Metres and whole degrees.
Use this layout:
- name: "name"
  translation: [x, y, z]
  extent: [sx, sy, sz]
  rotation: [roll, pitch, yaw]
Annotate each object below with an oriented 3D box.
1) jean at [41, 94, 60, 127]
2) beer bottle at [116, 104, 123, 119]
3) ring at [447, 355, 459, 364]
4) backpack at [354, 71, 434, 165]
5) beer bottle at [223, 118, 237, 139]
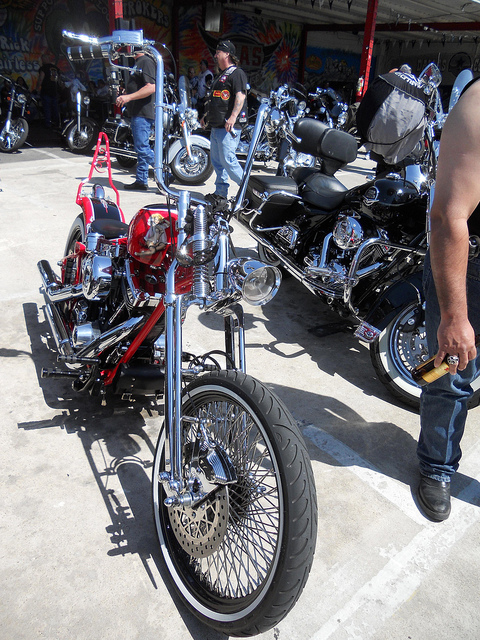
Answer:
- name: "jean"
  translation: [-5.257, -5.867, 13.147]
  extent: [0.431, 0.825, 0.419]
  rotation: [-4, 24, -20]
- name: "beer bottle"
  translation: [-2.610, -4.518, 10.230]
  extent: [0.127, 0.192, 0.442]
  rotation: [-2, 22, -16]
- name: "ring"
  translation: [0.695, 0.130, 1.538]
  extent: [0.027, 0.015, 0.029]
  rotation: [4, 0, 0]
- name: "backpack"
  translation: [0.985, -1.286, 2.961]
  extent: [0.330, 0.546, 0.436]
  rotation: [20, 45, 16]
- name: "beer bottle"
  translation: [-0.108, -2.295, 5.644]
  extent: [0.051, 0.193, 0.049]
  rotation: [-27, 19, 10]
